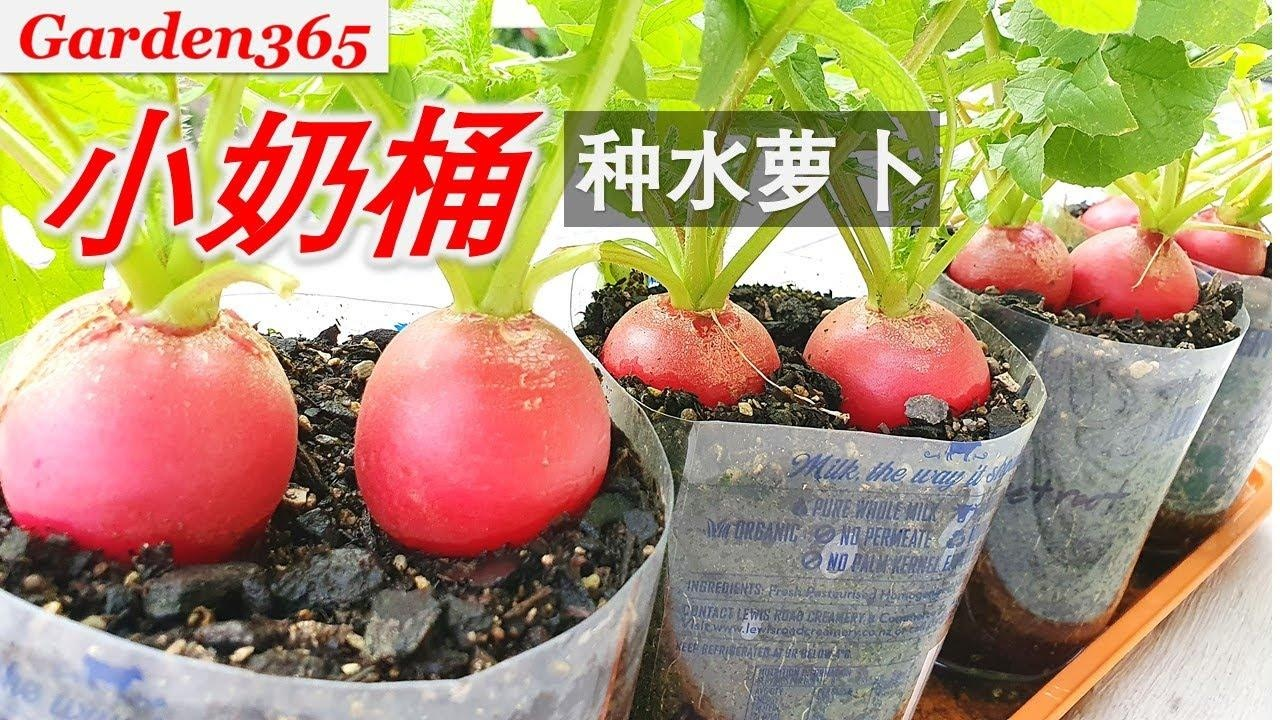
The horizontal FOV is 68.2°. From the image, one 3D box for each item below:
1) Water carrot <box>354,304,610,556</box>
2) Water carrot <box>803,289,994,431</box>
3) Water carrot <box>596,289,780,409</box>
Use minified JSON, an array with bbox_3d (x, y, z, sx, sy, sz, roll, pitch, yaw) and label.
[{"bbox_3d":[-0.191,0.091,1.288,0.351,0.272,0.302,-2,-2,-6],"label":"Water carrot"},{"bbox_3d":[0.382,-0.005,1.410,0.235,0.150,0.224,15,27,16],"label":"Water carrot"},{"bbox_3d":[0.073,-0.037,1.386,0.203,0.094,0.192,8,13,13],"label":"Water carrot"}]
